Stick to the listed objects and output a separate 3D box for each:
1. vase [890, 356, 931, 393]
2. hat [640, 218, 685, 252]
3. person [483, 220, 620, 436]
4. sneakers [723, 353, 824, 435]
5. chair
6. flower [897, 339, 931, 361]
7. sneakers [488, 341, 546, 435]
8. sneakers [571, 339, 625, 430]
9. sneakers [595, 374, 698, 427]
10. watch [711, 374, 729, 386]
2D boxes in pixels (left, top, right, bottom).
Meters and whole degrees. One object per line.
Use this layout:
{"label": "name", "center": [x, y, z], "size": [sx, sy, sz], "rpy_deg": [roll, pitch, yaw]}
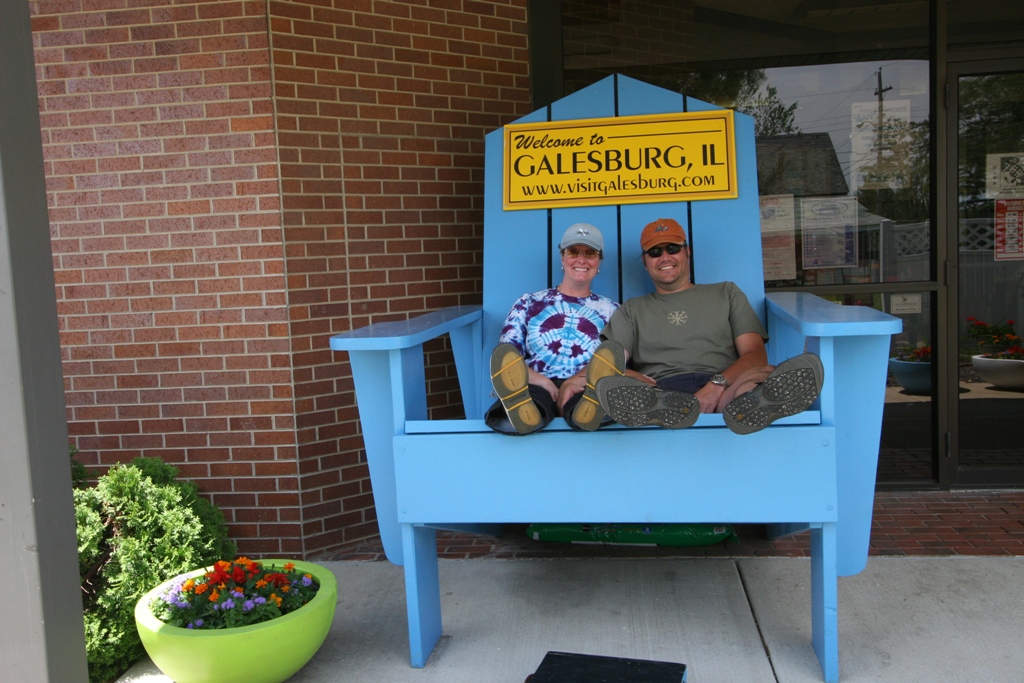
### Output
{"label": "vase", "center": [2.172, 0.181, 4.754], "size": [0.220, 0.138, 0.203], "rpy_deg": [0, 1, 1]}
{"label": "hat", "center": [0.655, -0.489, 3.823], "size": [0.141, 0.086, 0.179], "rpy_deg": [-12, -23, 9]}
{"label": "person", "center": [0.210, -0.052, 3.529], "size": [0.555, 0.753, 1.165], "rpy_deg": [3, 8, 7]}
{"label": "sneakers", "center": [0.920, 0.192, 3.086], "size": [0.381, 0.189, 0.158], "rpy_deg": [-30, 2, 20]}
{"label": "chair", "center": [0.371, 0.081, 4.389], "size": [2.745, 2.827, 2.469], "rpy_deg": [0, 3, 6]}
{"label": "flower", "center": [2.192, 0.055, 4.784], "size": [0.111, 0.080, 0.130], "rpy_deg": [2, 0, 7]}
{"label": "sneakers", "center": [0.017, 0.173, 3.213], "size": [0.151, 0.348, 0.152], "rpy_deg": [-20, 1, -9]}
{"label": "sneakers", "center": [0.297, 0.158, 3.194], "size": [0.151, 0.339, 0.149], "rpy_deg": [20, 20, 30]}
{"label": "sneakers", "center": [0.475, 0.221, 3.131], "size": [0.368, 0.150, 0.144], "rpy_deg": [17, 2, -2]}
{"label": "watch", "center": [0.810, 0.148, 3.383], "size": [0.052, 0.011, 0.047], "rpy_deg": [0, 28, 1]}
